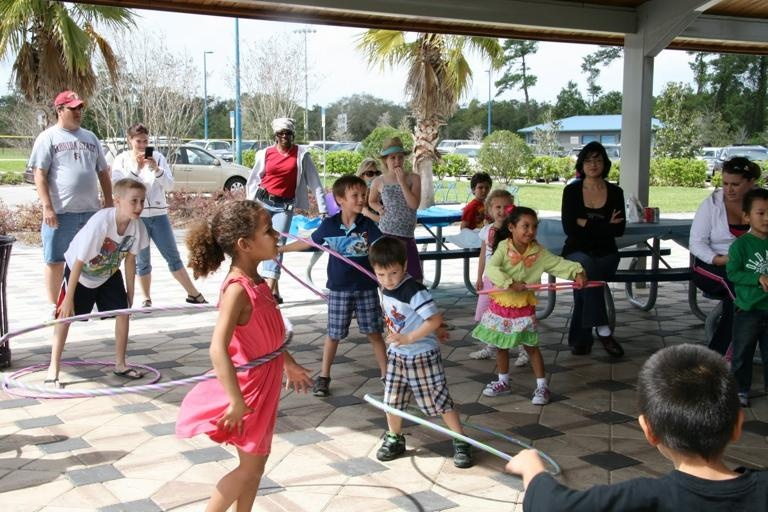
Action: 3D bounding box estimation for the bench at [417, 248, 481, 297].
[{"bbox_3d":[0.944,0.186,7.864,0.805,0.405,0.512,-4,6,35],"label":"bench"}]

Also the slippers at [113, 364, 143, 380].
[{"bbox_3d":[-2.282,1.043,5.076,0.283,0.061,0.109,1,4,28],"label":"slippers"}]

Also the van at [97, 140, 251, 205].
[{"bbox_3d":[-5.600,-2.518,18.983,6.861,2.116,2.769,-4,9,-22],"label":"van"}]

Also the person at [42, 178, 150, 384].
[{"bbox_3d":[-2.388,0.242,4.777,0.876,1.764,0.688,-8,14,-38],"label":"person"}]

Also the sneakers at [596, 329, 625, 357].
[{"bbox_3d":[2.327,0.936,5.933,0.146,0.375,0.158,-44,-25,6],"label":"sneakers"}]

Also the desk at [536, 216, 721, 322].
[{"bbox_3d":[3.320,0.007,7.276,1.984,0.738,1.734,-4,10,-21],"label":"desk"}]

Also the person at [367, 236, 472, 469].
[{"bbox_3d":[0.232,0.616,3.688,0.729,1.468,0.511,3,11,11],"label":"person"}]

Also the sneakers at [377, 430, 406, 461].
[{"bbox_3d":[0.043,1.280,3.773,0.102,0.115,0.275,-9,-12,38],"label":"sneakers"}]

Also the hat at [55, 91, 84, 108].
[{"bbox_3d":[-3.314,-1.652,6.005,0.247,0.186,0.379,-3,10,-23],"label":"hat"}]

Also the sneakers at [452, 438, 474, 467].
[{"bbox_3d":[0.503,1.303,3.695,0.097,0.091,0.232,0,-3,4],"label":"sneakers"}]

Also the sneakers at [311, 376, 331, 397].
[{"bbox_3d":[-0.531,1.111,4.798,0.147,0.120,0.321,6,-2,-6],"label":"sneakers"}]

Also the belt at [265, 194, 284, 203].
[{"bbox_3d":[-1.458,-0.742,7.507,0.148,0.046,0.135,9,6,-29],"label":"belt"}]
